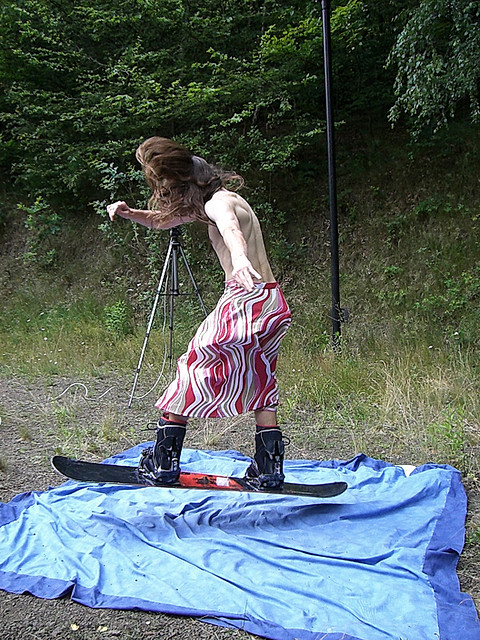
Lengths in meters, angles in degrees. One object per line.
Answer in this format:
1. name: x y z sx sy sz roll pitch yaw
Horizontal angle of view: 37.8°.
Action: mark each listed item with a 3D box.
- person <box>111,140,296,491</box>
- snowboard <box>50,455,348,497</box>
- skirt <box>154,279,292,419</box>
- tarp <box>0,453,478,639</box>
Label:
1. person: -0.131 -0.013 3.307 0.705 1.643 0.680 2 14 14
2. snowboard: -0.221 0.813 3.622 1.892 0.114 0.267 2 7 6
3. skirt: -0.039 0.124 3.373 0.656 0.657 0.538 2 1 -34
4. tarp: -0.001 0.975 3.329 2.149 0.140 1.444 1 12 11
